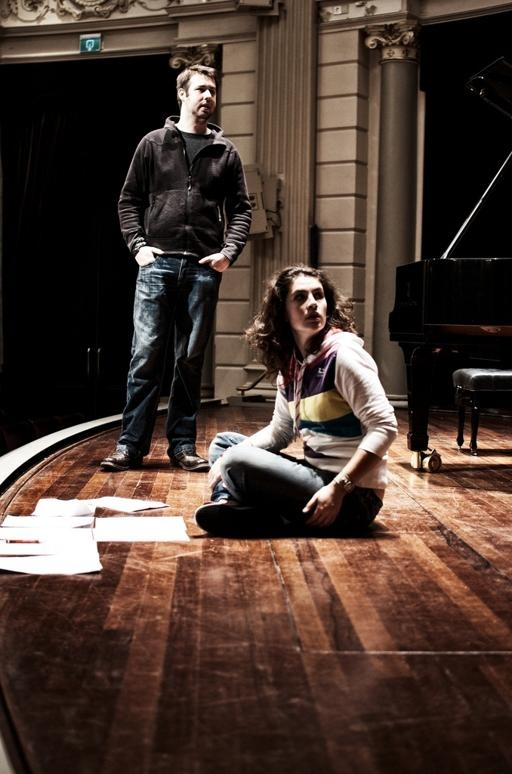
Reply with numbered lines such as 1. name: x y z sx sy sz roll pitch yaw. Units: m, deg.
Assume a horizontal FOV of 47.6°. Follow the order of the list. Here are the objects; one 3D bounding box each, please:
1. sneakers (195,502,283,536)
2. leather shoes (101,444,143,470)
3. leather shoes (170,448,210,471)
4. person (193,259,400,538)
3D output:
1. sneakers: -0.057 0.359 1.618 0.257 0.093 0.102 4 10 -14
2. leather shoes: -0.570 0.311 2.512 0.077 0.091 0.193 0 -5 27
3. leather shoes: -0.288 0.314 2.551 0.176 0.073 0.073 2 4 43
4. person: 0.182 0.065 1.921 0.671 0.930 0.687 4 -6 -12
